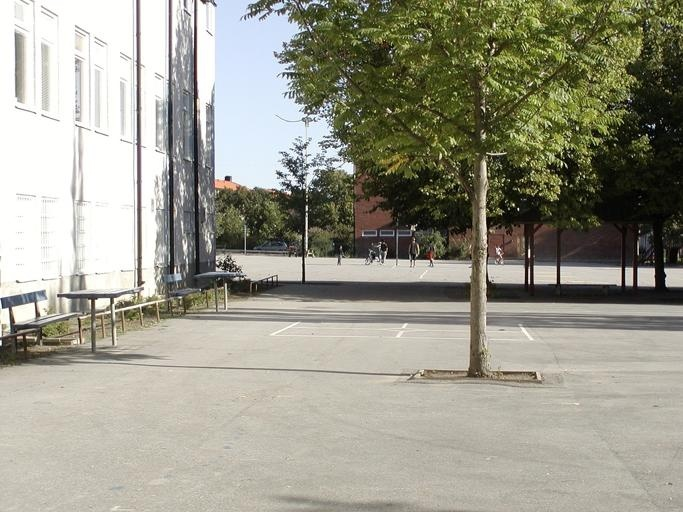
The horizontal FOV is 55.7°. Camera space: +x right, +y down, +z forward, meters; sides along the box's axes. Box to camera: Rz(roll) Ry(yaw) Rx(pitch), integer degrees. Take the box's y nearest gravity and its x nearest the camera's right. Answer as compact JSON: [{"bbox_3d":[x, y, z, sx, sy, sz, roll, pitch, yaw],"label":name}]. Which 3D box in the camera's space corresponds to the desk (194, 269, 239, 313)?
[{"bbox_3d":[-4.077,1.178,21.576,1.181,1.283,1.243,-1,-8,-37],"label":"desk"}]

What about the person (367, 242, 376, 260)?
[{"bbox_3d":[2.446,-0.279,57.894,1.075,1.393,1.945,-1,-6,4],"label":"person"}]
